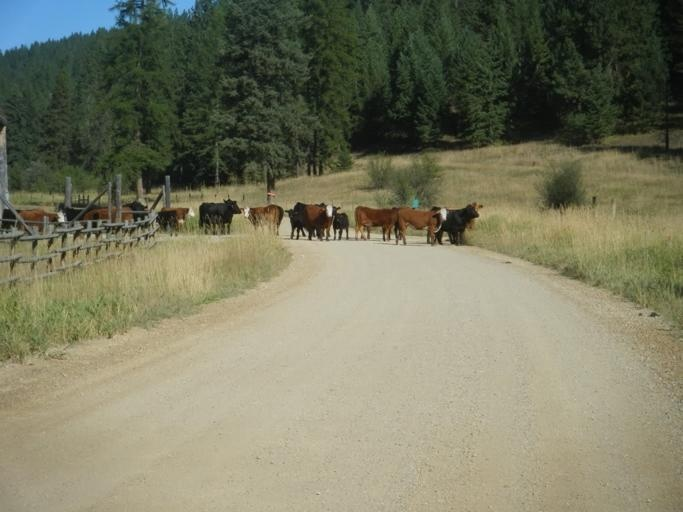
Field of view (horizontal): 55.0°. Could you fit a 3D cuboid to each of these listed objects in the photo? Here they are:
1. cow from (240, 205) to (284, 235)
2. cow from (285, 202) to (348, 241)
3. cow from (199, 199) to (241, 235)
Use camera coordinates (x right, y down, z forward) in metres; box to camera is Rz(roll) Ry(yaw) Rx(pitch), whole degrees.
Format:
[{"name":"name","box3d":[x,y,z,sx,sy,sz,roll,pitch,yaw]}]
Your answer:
[{"name":"cow","box3d":[-3.680,-1.845,32.152,0.986,2.040,2.957,-3,8,-45]},{"name":"cow","box3d":[-1.352,-1.654,30.423,3.302,2.329,1.315,2,5,34]},{"name":"cow","box3d":[-5.952,-1.961,32.203,1.619,1.725,2.366,-5,15,-23]}]
